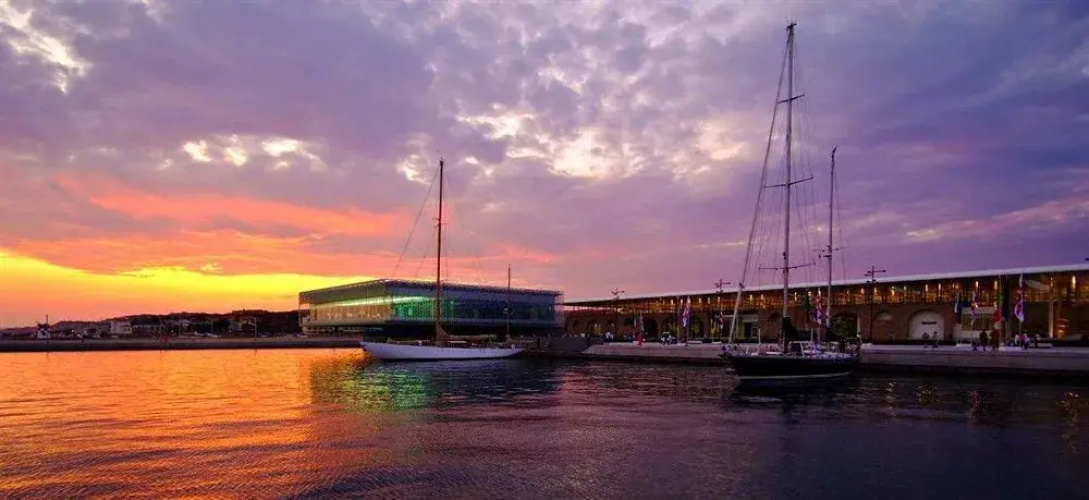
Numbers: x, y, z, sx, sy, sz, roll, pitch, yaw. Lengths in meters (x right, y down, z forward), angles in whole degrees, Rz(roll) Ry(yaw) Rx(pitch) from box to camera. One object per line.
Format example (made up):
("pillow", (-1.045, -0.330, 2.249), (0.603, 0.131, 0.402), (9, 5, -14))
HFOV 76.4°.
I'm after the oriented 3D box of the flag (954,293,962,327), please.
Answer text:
("flag", (57.665, 8.150, 96.401), (0.564, 3.598, 1.775), (-9, -17, 39))
